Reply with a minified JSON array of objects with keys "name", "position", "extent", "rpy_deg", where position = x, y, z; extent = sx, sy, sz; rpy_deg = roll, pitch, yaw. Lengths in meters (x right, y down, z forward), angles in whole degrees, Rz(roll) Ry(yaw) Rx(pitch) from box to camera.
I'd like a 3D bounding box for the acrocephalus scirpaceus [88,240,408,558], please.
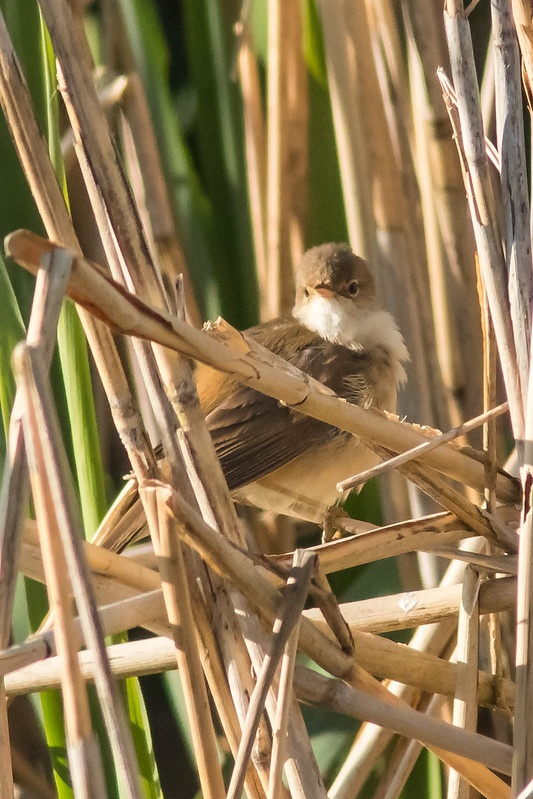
[{"name":"acrocephalus scirpaceus","position":[0.045,-0.038,1.867],"extent":[0.517,0.362,0.292],"rpy_deg":[-20,27,-24]}]
